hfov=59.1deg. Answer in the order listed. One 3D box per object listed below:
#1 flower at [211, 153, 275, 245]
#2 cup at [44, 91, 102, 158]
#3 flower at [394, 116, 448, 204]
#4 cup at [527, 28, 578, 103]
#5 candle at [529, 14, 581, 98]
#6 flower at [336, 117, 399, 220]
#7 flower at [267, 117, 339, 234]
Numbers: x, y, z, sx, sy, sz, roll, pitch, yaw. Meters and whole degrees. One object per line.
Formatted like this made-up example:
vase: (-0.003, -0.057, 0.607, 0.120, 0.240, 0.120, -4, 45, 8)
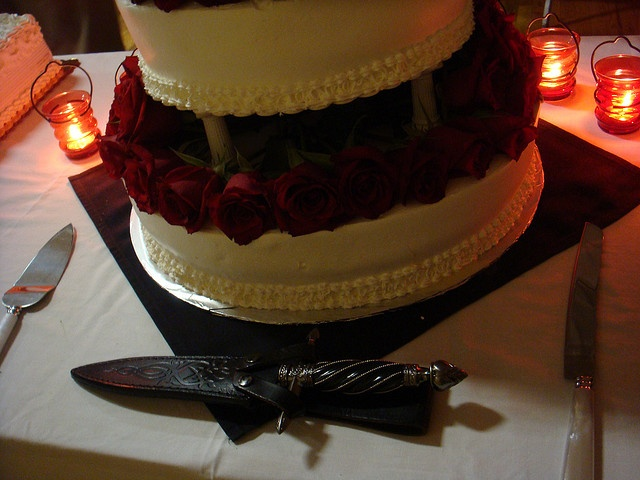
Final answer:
flower: (-0.197, -0.073, 1.404, 0.155, 0.158, 0.103, -11, 31, -9)
cup: (-1.003, -0.463, 2.289, 0.173, 0.222, 0.177, -4, 34, 3)
flower: (0.252, -0.174, 1.396, 0.139, 0.156, 0.107, -12, 31, -11)
cup: (0.871, -0.646, 2.065, 0.159, 0.270, 0.145, -7, 9, 1)
candle: (0.863, -0.653, 2.058, 0.158, 0.266, 0.163, -29, 28, -32)
flower: (0.107, -0.149, 1.297, 0.142, 0.173, 0.069, -18, 8, 5)
flower: (-0.037, -0.157, 1.443, 0.156, 0.172, 0.277, -5, 32, 2)
